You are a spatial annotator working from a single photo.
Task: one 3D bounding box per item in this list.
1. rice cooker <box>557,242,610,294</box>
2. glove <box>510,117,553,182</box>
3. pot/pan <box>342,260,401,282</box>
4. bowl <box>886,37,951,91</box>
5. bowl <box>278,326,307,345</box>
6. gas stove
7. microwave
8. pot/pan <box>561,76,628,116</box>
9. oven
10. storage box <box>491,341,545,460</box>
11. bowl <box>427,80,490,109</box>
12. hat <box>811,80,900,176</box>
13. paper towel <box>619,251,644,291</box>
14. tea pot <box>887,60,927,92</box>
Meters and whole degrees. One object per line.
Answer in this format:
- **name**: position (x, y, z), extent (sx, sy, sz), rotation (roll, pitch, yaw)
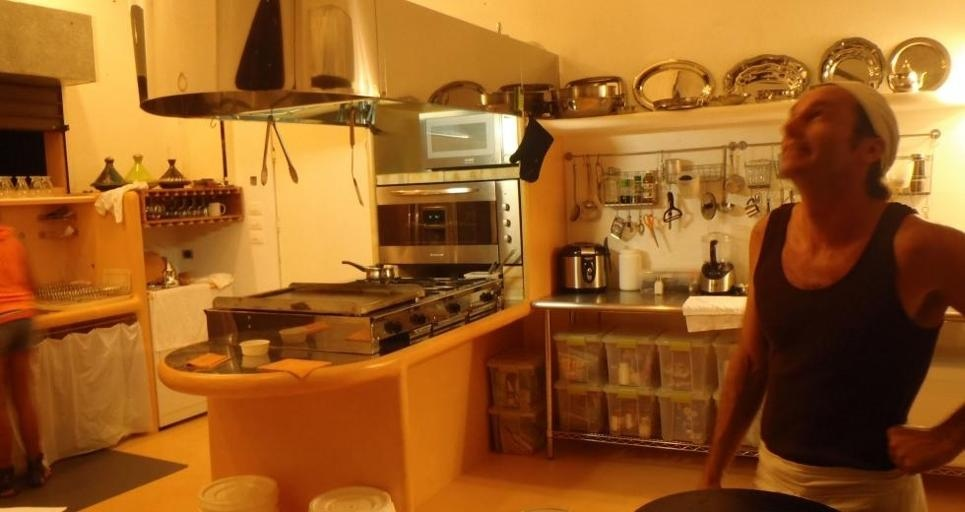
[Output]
- **rice cooker**: position (0.859, 0.102, 5.934), extent (0.453, 0.401, 0.186), rotation (0, 12, 5)
- **glove**: position (0.377, -0.823, 5.557), extent (0.342, 0.510, 0.209), rotation (-3, 12, -10)
- **pot/pan**: position (-0.925, 0.137, 5.746), extent (0.429, 0.132, 0.228), rotation (1, 1, -2)
- **bowl**: position (3.328, -1.443, 5.277), extent (0.491, 0.429, 0.079), rotation (-6, 13, 24)
- **bowl**: position (-1.248, 0.527, 4.622), extent (0.154, 0.053, 0.122), rotation (5, 9, 32)
- **gas stove**: position (-0.823, 0.395, 4.879), extent (2.047, 0.351, 0.900), rotation (-4, 11, -20)
- **microwave**: position (-0.015, -1.004, 6.073), extent (0.913, 0.468, 0.539), rotation (1, 7, 24)
- **pot/pan**: position (0.915, -1.294, 5.699), extent (0.552, 0.331, 0.278), rotation (-1, 11, -1)
- **oven**: position (-0.239, -0.301, 6.157), extent (1.428, 0.659, 0.653), rotation (2, 10, 23)
- **storage box**: position (0.291, 1.219, 5.821), extent (0.490, 0.792, 0.325), rotation (0, 12, 3)
- **bowl**: position (-0.150, -1.101, 4.773), extent (0.099, 0.194, 0.557), rotation (7, 13, 34)
- **hat**: position (1.683, -0.556, 3.085), extent (0.324, 0.403, 0.156), rotation (-3, 12, -12)
- **paper towel**: position (1.269, 0.126, 5.904), extent (0.195, 0.332, 0.111), rotation (0, 12, 2)
- **tea pot**: position (3.256, -1.352, 5.342), extent (0.287, 0.208, 0.214), rotation (-3, 13, -2)
